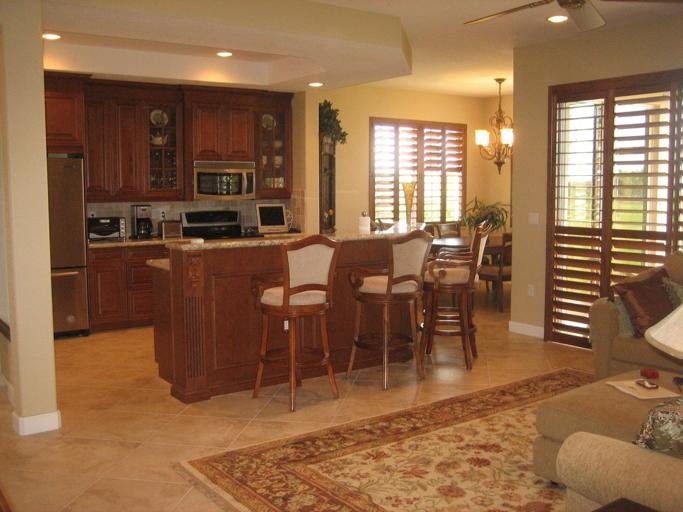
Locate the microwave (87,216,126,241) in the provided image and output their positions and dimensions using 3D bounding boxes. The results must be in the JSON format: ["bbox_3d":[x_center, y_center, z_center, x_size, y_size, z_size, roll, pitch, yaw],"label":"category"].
[{"bbox_3d":[-2.914,-0.334,6.778,0.456,0.287,0.289,-1,1,-33],"label":"microwave"}]

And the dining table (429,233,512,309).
[{"bbox_3d":[2.014,0.066,8.417,1.243,1.641,1.206,4,8,24],"label":"dining table"}]

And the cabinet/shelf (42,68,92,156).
[{"bbox_3d":[-3.116,-1.594,6.236,0.463,0.907,0.141,-4,10,-24],"label":"cabinet/shelf"}]

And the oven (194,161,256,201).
[{"bbox_3d":[-1.659,-1.035,7.528,0.872,0.529,0.501,-4,17,-26],"label":"oven"}]

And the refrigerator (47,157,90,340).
[{"bbox_3d":[-3.145,-0.134,6.310,0.441,1.999,0.195,-5,11,-29],"label":"refrigerator"}]

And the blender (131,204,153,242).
[{"bbox_3d":[-2.585,-0.442,7.091,0.263,0.426,0.442,-4,9,-21],"label":"blender"}]
